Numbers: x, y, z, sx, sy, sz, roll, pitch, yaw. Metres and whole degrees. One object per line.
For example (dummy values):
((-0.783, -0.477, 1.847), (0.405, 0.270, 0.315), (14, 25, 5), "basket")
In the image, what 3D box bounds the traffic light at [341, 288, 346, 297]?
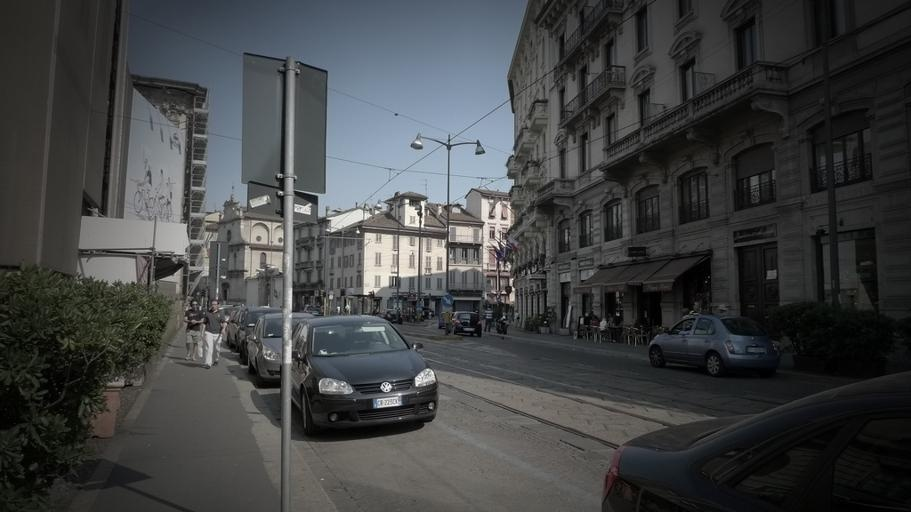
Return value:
((-15.326, 4.835, 85.722), (0.327, 0.991, 1.036), (4, -8, -28), "traffic light")

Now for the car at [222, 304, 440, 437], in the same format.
((-2.499, 2.791, 15.194), (2.507, 2.810, 3.588), (6, -10, -41), "car")
